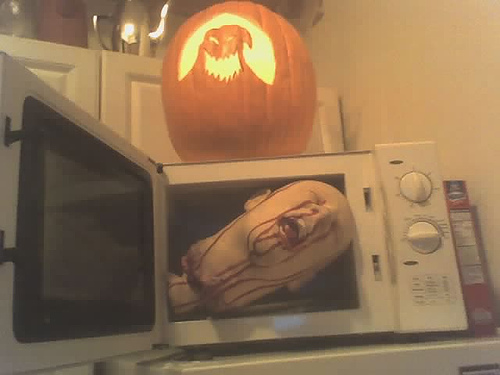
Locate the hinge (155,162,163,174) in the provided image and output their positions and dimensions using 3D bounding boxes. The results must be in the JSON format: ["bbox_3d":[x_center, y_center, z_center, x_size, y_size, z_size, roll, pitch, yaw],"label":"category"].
[{"bbox_3d":[-0.154,-0.032,1.090,0.015,0.011,0.018,4,92,-13],"label":"hinge"}]

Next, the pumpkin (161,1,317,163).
[{"bbox_3d":[-0.011,-0.178,1.255,0.240,0.266,0.277,0,78,-2],"label":"pumpkin"}]

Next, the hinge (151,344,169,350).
[{"bbox_3d":[-0.145,0.256,1.049,0.017,0.009,0.008,6,61,-22],"label":"hinge"}]
